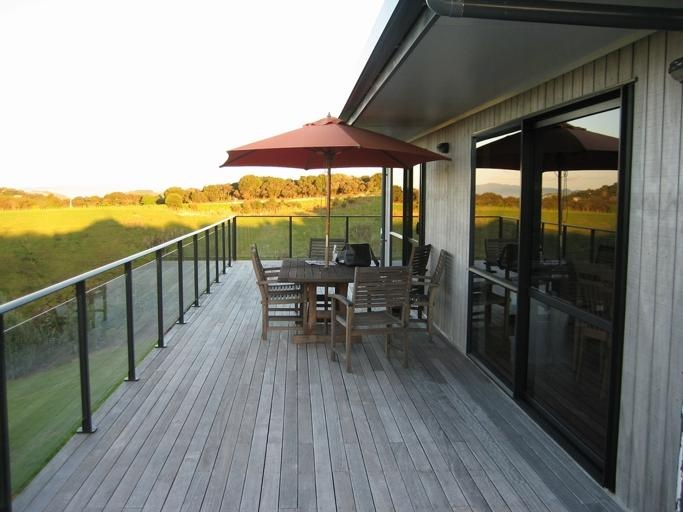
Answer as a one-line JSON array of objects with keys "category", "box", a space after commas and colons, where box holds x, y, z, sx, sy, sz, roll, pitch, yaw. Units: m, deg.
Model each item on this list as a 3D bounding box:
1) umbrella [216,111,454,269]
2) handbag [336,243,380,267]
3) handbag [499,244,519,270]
[{"category": "umbrella", "box": [-0.168, -1.244, 5.560, 2.066, 1.593, 2.135, -7, 14, -27]}, {"category": "handbag", "box": [0.182, -0.019, 6.091, 0.351, 0.184, 0.374, 0, 5, -12]}, {"category": "handbag", "box": [1.497, 0.008, 4.244, 0.136, 0.220, 0.162, 2, 5, 7]}]
